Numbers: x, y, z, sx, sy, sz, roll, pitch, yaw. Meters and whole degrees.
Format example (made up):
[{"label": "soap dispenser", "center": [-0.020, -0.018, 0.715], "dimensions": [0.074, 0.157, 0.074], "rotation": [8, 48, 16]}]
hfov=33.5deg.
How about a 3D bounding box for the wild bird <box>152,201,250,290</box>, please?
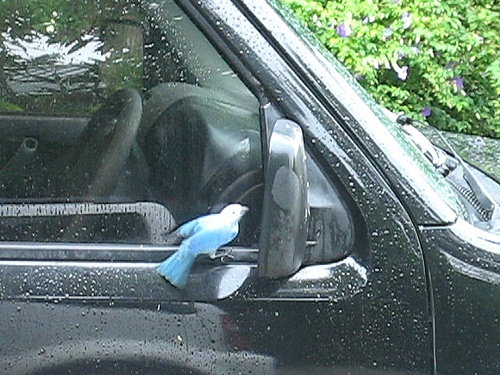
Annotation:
[{"label": "wild bird", "center": [-0.173, 0.174, 3.154], "dimensions": [0.379, 0.258, 0.211], "rotation": [-22, 46, -16]}]
